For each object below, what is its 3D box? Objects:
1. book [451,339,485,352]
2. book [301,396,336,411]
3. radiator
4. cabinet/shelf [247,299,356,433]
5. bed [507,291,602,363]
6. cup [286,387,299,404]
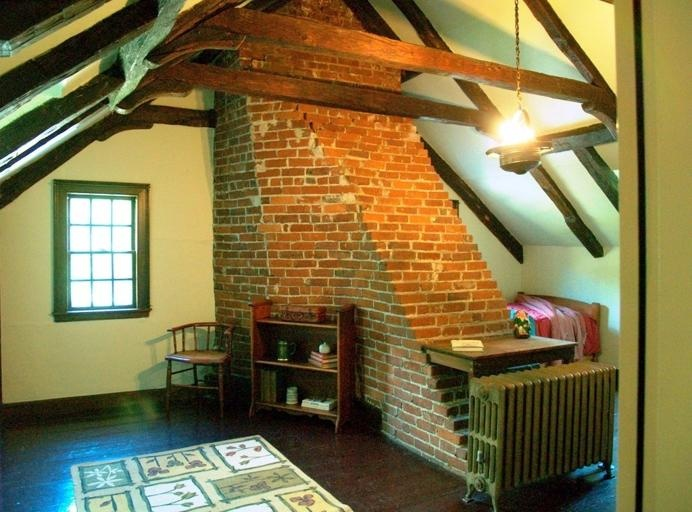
[{"bbox_3d":[0.912,0.672,4.273,0.229,0.053,0.178,0,3,8],"label":"book"},{"bbox_3d":[-0.250,1.383,5.351,0.315,0.077,0.170,2,4,31],"label":"book"},{"bbox_3d":[1.310,1.237,3.853,1.112,0.600,0.363,-3,8,-26],"label":"radiator"},{"bbox_3d":[-0.396,1.073,5.442,1.420,1.214,0.605,0,-1,34],"label":"cabinet/shelf"},{"bbox_3d":[2.733,0.802,7.356,1.280,0.584,1.156,-4,11,-17],"label":"bed"},{"bbox_3d":[-0.508,1.357,5.555,0.168,0.138,0.148,0,-4,2],"label":"cup"}]
